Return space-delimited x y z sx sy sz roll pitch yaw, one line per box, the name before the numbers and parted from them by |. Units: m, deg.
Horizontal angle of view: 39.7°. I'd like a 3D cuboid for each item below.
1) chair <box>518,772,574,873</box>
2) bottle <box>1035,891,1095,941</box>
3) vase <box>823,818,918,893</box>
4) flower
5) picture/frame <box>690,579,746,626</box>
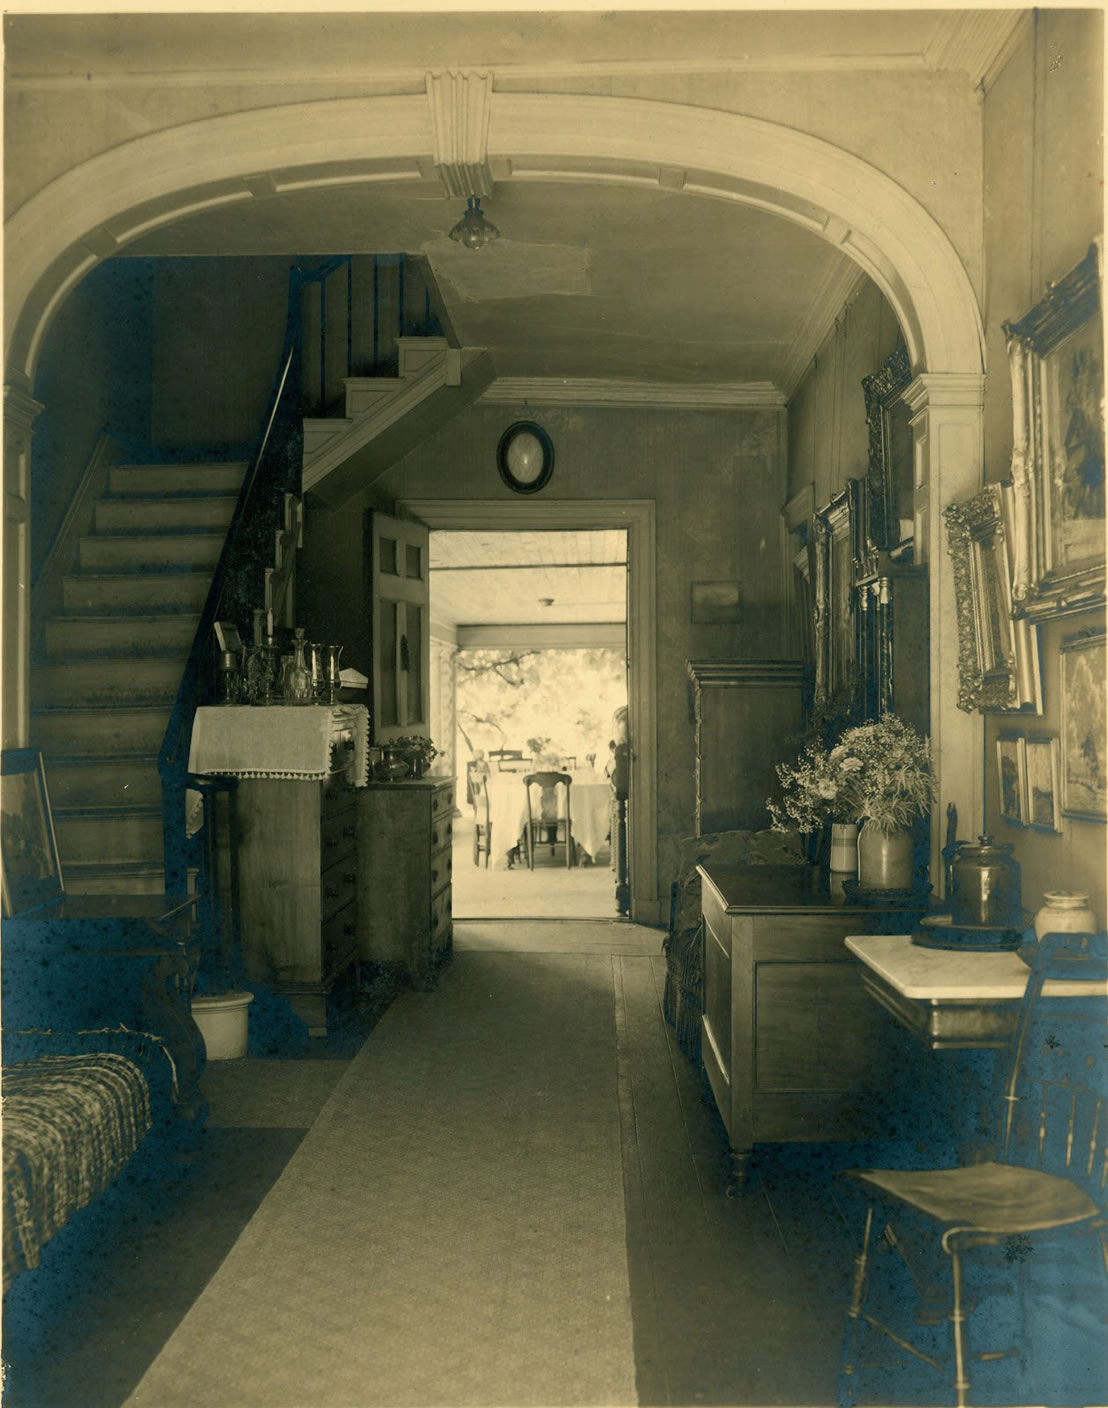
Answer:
chair | -0.015 0.806 10.796 0.338 0.705 0.446 0 7 13
bottle | 1.009 0.438 3.064 0.134 0.094 0.144 -1 3 0
vase | 0.801 0.392 3.873 0.178 0.216 0.142 -1 -1 11
flower | 0.769 0.275 3.946 0.360 0.297 0.386 -5 9 25
picture/frame | 0.832 -0.508 7.844 0.201 0.238 0.054 3 -2 -2
